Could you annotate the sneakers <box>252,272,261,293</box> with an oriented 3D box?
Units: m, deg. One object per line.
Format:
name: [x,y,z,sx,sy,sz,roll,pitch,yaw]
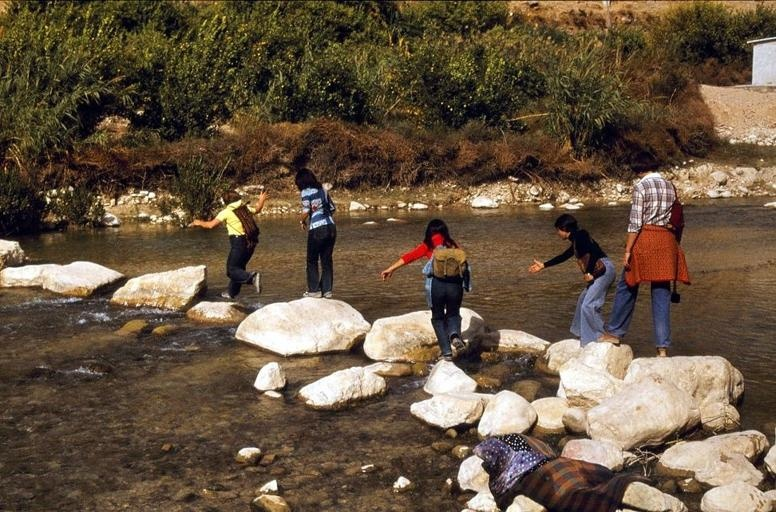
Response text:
sneakers: [-2.551,0.515,16.861,0.166,0.423,0.189,-5,8,-34]

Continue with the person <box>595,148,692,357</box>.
person: [4.343,-0.002,14.145,1.397,3.188,1.002,-18,17,-40]

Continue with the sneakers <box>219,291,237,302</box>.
sneakers: [-3.217,0.825,17.160,0.239,0.110,0.279,-22,11,-38]

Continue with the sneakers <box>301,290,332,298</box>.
sneakers: [-1.400,0.759,16.571,0.506,0.199,0.186,2,1,21]

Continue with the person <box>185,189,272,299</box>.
person: [-3.007,-0.197,16.946,0.951,2.143,0.899,-4,13,11]

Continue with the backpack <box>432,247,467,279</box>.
backpack: [0.985,0.142,14.182,0.627,0.546,0.479,1,-9,-5]

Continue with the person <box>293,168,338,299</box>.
person: [-1.375,-0.404,16.654,0.774,2.548,0.837,-7,13,-1]
